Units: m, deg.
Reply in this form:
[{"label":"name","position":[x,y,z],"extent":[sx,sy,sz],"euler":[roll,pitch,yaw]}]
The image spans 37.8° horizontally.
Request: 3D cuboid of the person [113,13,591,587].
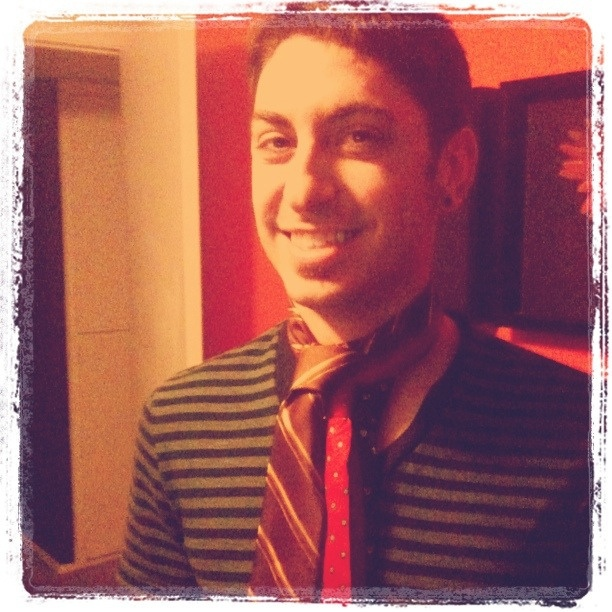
[{"label":"person","position":[0.127,-0.025,1.723],"extent":[0.811,1.129,0.503],"euler":[-1,-5,16]}]
